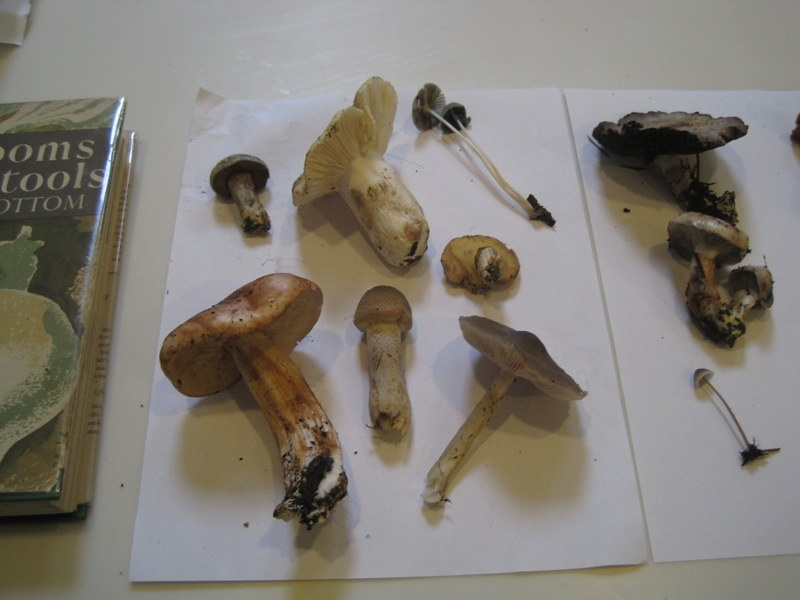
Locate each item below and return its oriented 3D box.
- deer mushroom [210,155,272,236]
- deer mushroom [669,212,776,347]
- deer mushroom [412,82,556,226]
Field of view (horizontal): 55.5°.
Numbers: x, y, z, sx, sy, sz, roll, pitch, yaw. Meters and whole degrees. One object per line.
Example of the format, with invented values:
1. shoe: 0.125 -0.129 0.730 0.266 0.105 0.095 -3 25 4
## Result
1. deer mushroom: -0.837 -0.572 4.050 0.269 0.287 0.437 -12 63 -30
2. deer mushroom: 1.603 -0.112 3.879 0.404 0.541 0.611 -3 85 33
3. deer mushroom: 0.452 -0.777 4.221 0.171 0.234 0.861 -34 82 -31
